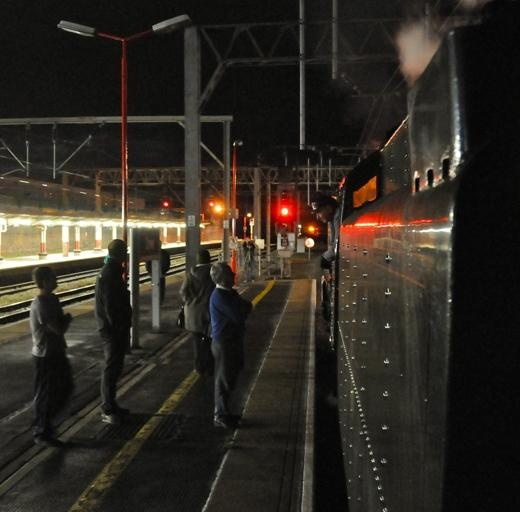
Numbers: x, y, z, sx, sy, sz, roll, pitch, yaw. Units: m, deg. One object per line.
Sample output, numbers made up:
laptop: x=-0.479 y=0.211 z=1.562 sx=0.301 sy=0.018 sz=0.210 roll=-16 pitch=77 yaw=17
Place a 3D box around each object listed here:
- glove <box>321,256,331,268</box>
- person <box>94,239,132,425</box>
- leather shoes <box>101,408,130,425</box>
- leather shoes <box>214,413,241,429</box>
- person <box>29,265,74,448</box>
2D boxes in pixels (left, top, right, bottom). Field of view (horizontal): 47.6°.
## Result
glove: x=0.939 y=0.119 z=8.579 sx=0.135 sy=0.329 sz=0.223 roll=0 pitch=5 yaw=10
person: x=-1.569 y=0.827 z=6.317 sx=0.370 sy=1.682 sz=0.544 roll=-2 pitch=1 yaw=-15
leather shoes: x=-1.615 y=1.755 z=6.453 sx=0.235 sy=0.123 sz=0.148 roll=-1 pitch=4 yaw=2
leather shoes: x=-0.356 y=1.710 z=6.166 sx=0.287 sy=0.178 sz=0.121 roll=-1 pitch=8 yaw=-4
person: x=-1.993 y=0.960 z=5.618 sx=0.373 sy=1.573 sz=0.352 roll=-2 pitch=1 yaw=-23
